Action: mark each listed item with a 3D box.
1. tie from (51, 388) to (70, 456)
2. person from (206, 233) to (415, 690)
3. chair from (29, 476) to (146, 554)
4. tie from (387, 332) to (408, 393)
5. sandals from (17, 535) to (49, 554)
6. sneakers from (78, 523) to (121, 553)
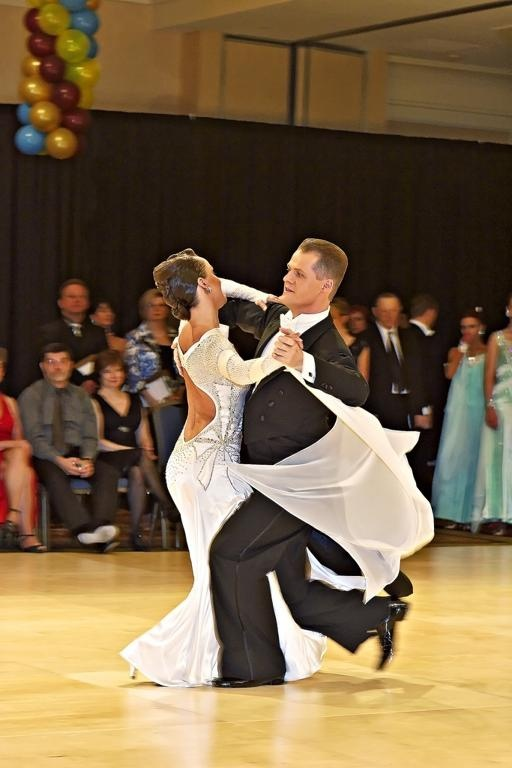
[{"bbox_3d":[-1.408,0.272,5.029,0.113,0.469,0.071,1,-5,-3],"label":"tie"},{"bbox_3d":[0.131,0.230,2.073,0.630,1.391,0.820,0,-5,11],"label":"person"},{"bbox_3d":[-1.253,0.933,5.145,0.658,0.495,0.462,4,-15,-19],"label":"chair"},{"bbox_3d":[1.211,-0.190,6.070,0.184,0.576,0.051,-4,-7,-18],"label":"tie"},{"bbox_3d":[-1.581,1.130,4.973,0.187,0.128,0.111,2,-5,-11],"label":"sandals"},{"bbox_3d":[-1.077,1.077,4.888,0.439,0.142,0.171,-5,32,46],"label":"sneakers"}]
